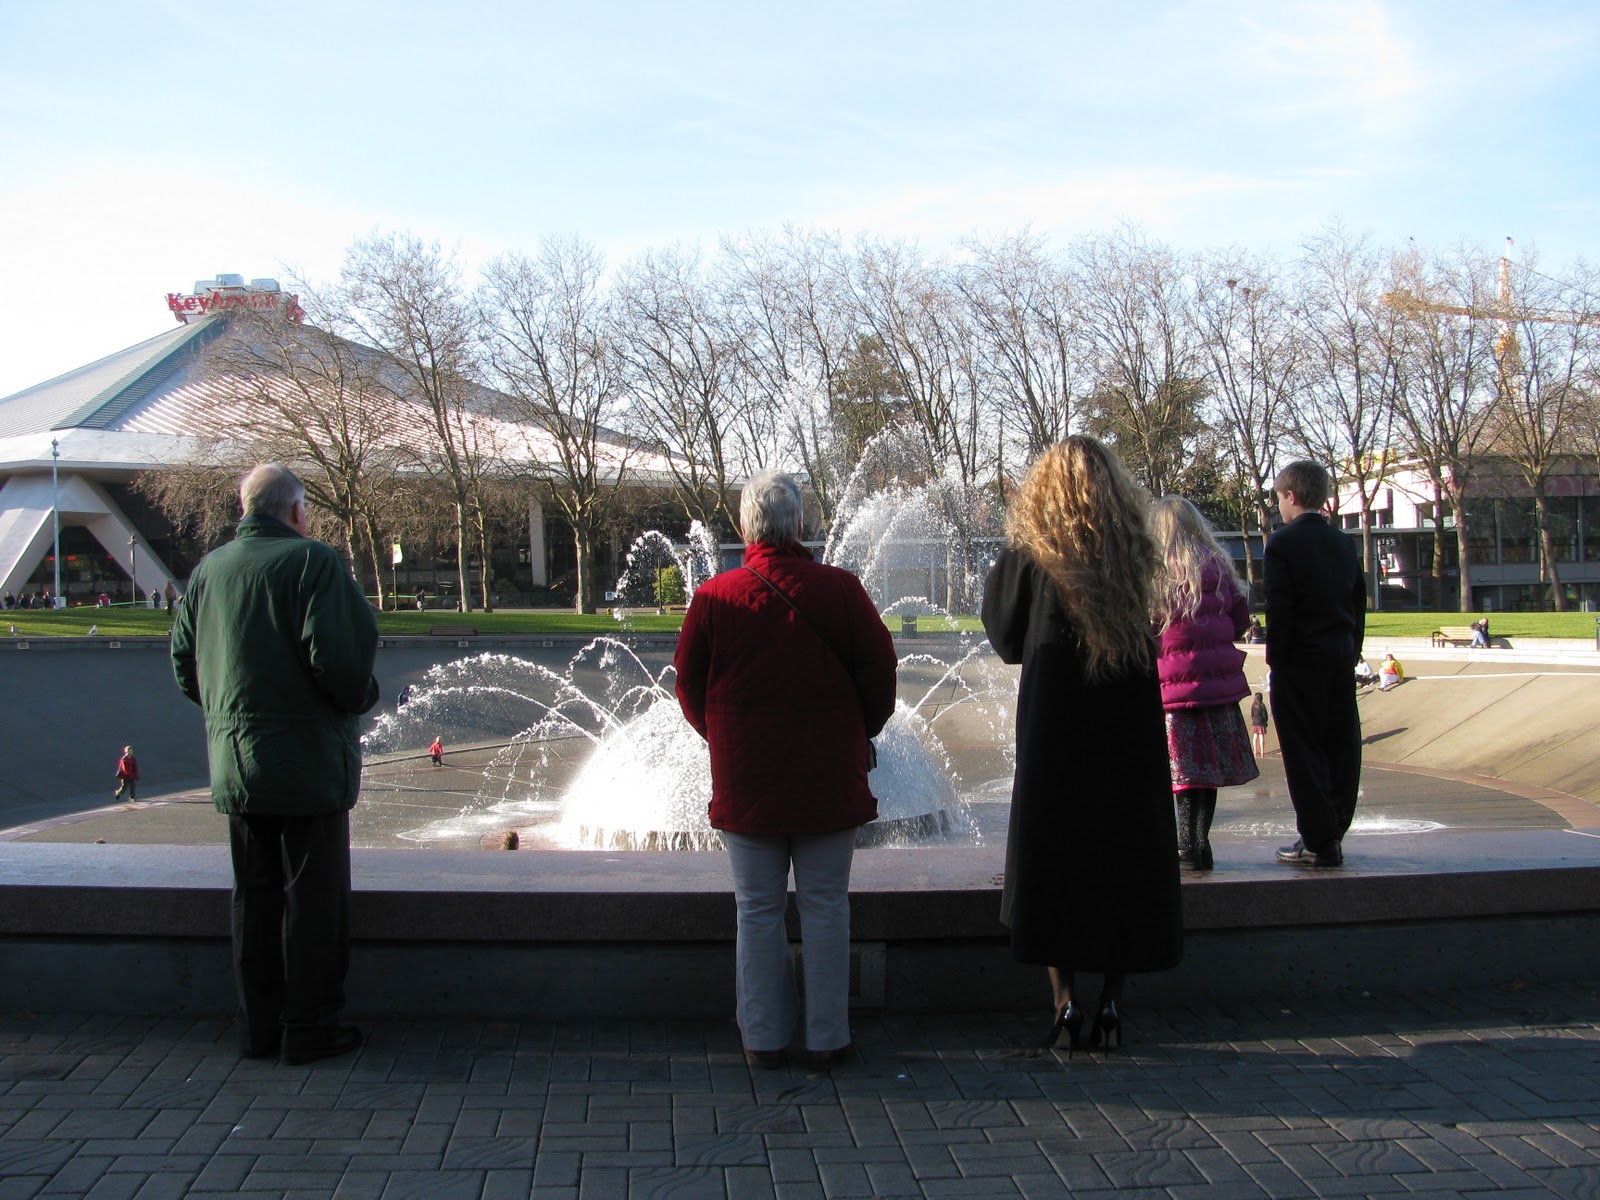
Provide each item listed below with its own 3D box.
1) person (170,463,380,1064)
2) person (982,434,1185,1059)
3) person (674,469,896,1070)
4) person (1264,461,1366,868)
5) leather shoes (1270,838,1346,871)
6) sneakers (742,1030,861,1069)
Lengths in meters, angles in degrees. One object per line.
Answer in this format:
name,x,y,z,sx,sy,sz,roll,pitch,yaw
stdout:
person,-2.111,0.651,6.346,0.763,1.697,0.527,-5,3,-13
person,1.134,0.411,6.245,0.711,2.162,0.350,-4,3,4
person,-0.033,0.670,6.269,0.878,2.384,0.401,-4,3,-6
person,2.401,0.273,7.176,0.402,1.845,0.657,-2,3,27
leather shoes,2.326,1.151,7.078,0.117,0.140,0.314,-3,5,-30
sneakers,0.011,1.831,6.172,0.442,0.196,0.150,5,-4,-18
